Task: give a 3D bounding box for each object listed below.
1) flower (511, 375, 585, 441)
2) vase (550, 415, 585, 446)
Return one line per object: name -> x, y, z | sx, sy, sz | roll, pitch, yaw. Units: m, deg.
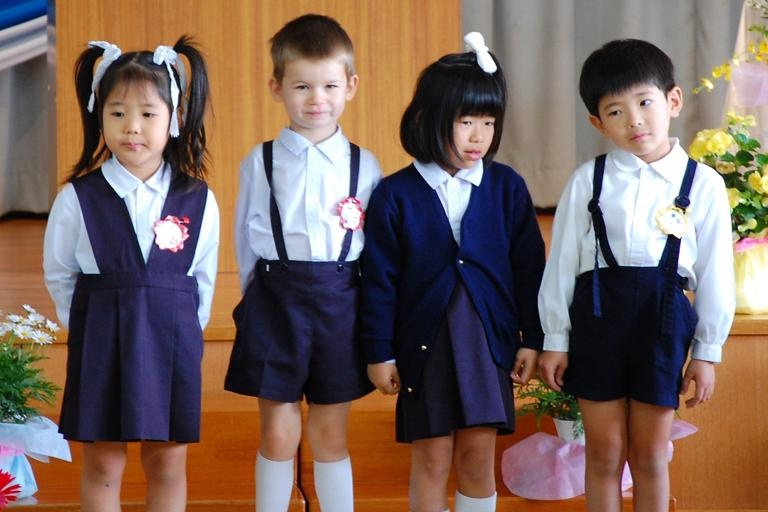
flower -> 0.554, 0.524, 2.978 | 0.234, 0.265, 0.202 | -1, -8, 3
vase -> 0.616, 0.576, 2.833 | 0.084, 0.068, 0.078 | 0, 1, 0
